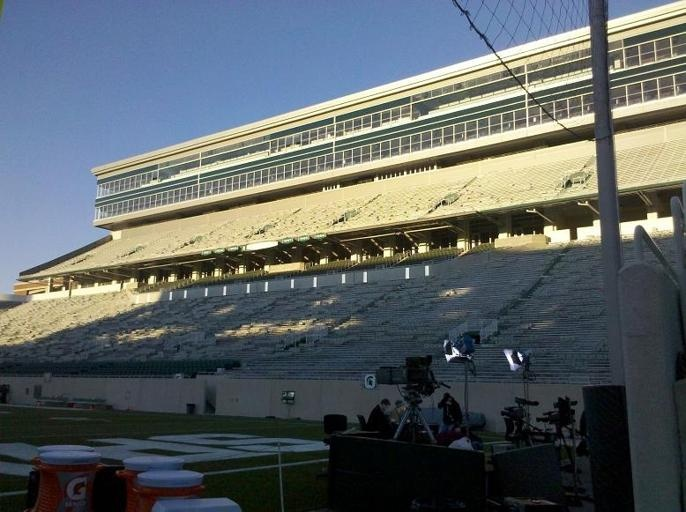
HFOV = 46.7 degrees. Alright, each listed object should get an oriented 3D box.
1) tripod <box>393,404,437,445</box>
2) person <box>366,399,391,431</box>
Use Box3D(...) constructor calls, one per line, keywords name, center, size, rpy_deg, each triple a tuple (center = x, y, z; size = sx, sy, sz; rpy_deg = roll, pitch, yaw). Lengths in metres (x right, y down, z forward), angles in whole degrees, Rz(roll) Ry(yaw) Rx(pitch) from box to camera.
Box3D(name="tripod", center=(1.562, 3.586, 17.006), size=(1.148, 0.826, 0.960), rpy_deg=(-7, -15, 19))
Box3D(name="person", center=(0.909, 3.560, 17.848), size=(0.692, 0.655, 0.568), rpy_deg=(6, 6, 11))
